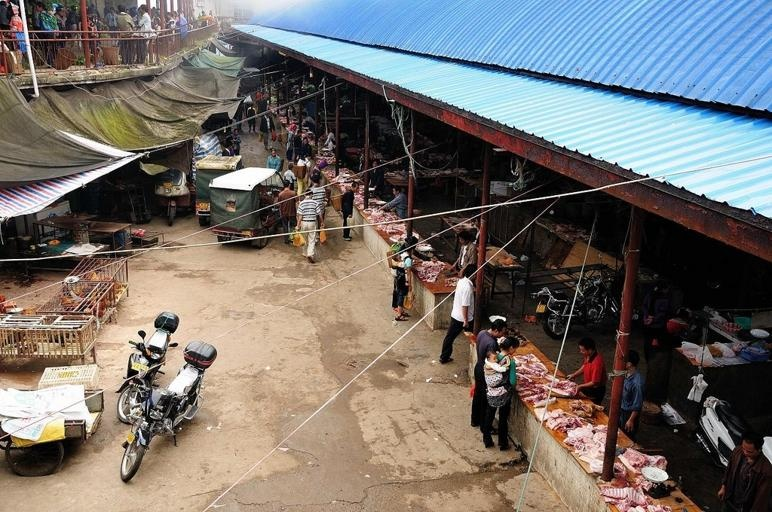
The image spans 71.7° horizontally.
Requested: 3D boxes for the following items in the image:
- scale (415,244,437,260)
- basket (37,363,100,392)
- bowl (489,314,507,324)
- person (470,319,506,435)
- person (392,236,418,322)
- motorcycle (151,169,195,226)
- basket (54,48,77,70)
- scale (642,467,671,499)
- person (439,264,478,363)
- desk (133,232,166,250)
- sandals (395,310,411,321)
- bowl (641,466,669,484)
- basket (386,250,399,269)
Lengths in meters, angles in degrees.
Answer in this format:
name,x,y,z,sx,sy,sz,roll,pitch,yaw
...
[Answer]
name,x,y,z,sx,sy,sz,roll,pitch,yaw
scale,1.057,-0.092,14.851,0.527,0.277,0.798,3,21,4
basket,-5.845,2.286,9.884,0.915,0.283,0.662,-4,22,-13
bowl,2.347,1.331,11.226,0.369,0.105,0.366,1,10,0
person,1.752,2.133,9.582,0.563,1.855,0.775,0,-5,17
person,0.416,0.575,12.998,0.558,1.920,0.666,2,-2,3
motorcycle,-7.560,-2.151,19.091,1.186,1.791,1.286,-10,24,-27
basket,-11.255,-6.905,18.663,0.393,0.709,1.510,-5,22,-17
scale,3.897,3.265,7.694,0.354,0.225,0.361,6,39,21
person,1.596,1.354,11.710,1.171,2.095,0.936,-10,35,-9
desk,-7.351,-0.442,16.475,0.622,0.275,0.683,5,14,4
sandals,0.404,1.471,13.181,0.265,0.083,0.238,-1,18,-3
bowl,3.860,3.150,7.718,0.241,0.054,0.246,-1,12,0
basket,0.293,0.136,12.988,0.372,0.464,0.389,-3,10,-18
